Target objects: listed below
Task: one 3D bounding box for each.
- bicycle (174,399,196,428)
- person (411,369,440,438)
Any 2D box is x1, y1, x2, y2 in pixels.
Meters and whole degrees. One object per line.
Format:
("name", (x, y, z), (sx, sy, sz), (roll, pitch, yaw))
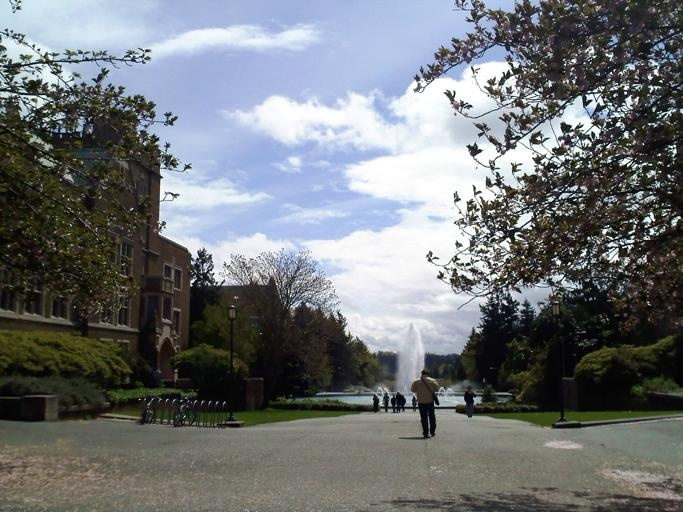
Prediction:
("bicycle", (-6.962, 7.000, 26.139), (0.782, 1.073, 1.651), (1, -5, 6))
("person", (2.720, 4.647, 18.989), (0.781, 2.221, 0.763), (-5, 5, -3))
